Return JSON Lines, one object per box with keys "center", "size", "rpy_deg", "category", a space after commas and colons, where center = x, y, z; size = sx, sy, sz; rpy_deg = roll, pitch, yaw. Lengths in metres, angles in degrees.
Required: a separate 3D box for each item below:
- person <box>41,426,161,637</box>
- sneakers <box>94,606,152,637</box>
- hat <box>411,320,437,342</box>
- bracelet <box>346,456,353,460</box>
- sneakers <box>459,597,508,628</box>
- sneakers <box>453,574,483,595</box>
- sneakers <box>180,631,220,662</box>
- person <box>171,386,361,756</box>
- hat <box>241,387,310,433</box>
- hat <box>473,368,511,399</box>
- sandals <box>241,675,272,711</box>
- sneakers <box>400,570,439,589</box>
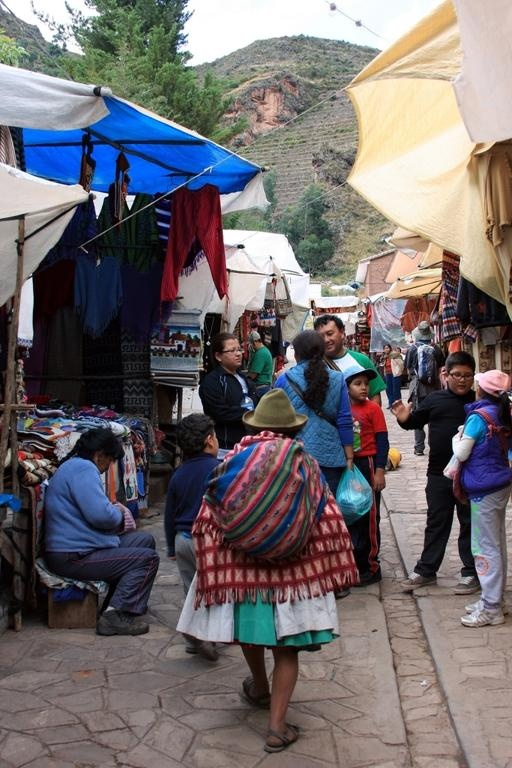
{"center": [-0.888, 0.834, 3.695], "size": [0.633, 1.152, 0.407], "rpy_deg": [1, -2, -17], "category": "person"}
{"center": [-0.743, 1.322, 3.670], "size": [0.364, 0.214, 0.118], "rpy_deg": [-2, 5, -11], "category": "sneakers"}
{"center": [2.718, -0.888, 10.565], "size": [0.337, 0.157, 0.464], "rpy_deg": [-2, 34, 6], "category": "hat"}
{"center": [0.595, 0.469, 4.126], "size": [0.031, 0.032, 0.032], "rpy_deg": [-1, 22, 19], "category": "bracelet"}
{"center": [1.284, 1.316, 3.649], "size": [0.163, 0.066, 0.199], "rpy_deg": [1, -5, 5], "category": "sneakers"}
{"center": [1.395, 1.350, 4.297], "size": [0.077, 0.092, 0.230], "rpy_deg": [-7, -13, 32], "category": "sneakers"}
{"center": [-0.282, 1.364, 3.347], "size": [0.235, 0.151, 0.078], "rpy_deg": [0, 3, -5], "category": "sneakers"}
{"center": [-0.005, 0.675, 2.397], "size": [0.567, 1.320, 0.591], "rpy_deg": [-1, -3, 30], "category": "person"}
{"center": [0.098, 0.128, 3.107], "size": [0.325, 0.153, 0.396], "rpy_deg": [3, 11, 2], "category": "hat"}
{"center": [1.313, -0.003, 3.616], "size": [0.184, 0.141, 0.150], "rpy_deg": [-2, -3, 31], "category": "hat"}
{"center": [0.001, 1.307, 2.727], "size": [0.068, 0.051, 0.143], "rpy_deg": [-2, 10, -20], "category": "sandals"}
{"center": [1.141, 1.362, 4.468], "size": [0.282, 0.115, 0.094], "rpy_deg": [2, -4, -18], "category": "sneakers"}
